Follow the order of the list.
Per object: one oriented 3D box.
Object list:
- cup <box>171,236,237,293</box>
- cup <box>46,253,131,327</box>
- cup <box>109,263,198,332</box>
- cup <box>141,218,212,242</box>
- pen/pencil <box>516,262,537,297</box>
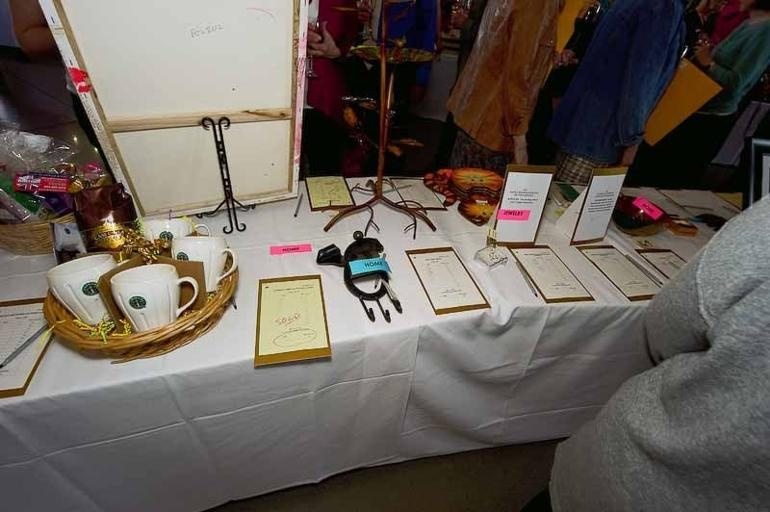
[{"bbox_3d":[-0.616,0.011,1.658,0.240,0.216,0.164,1,20,-19],"label":"cup"},{"bbox_3d":[-0.978,0.105,1.600,0.204,0.200,0.222,-5,19,2],"label":"cup"},{"bbox_3d":[-0.761,0.137,1.594,0.248,0.183,0.201,0,34,-14],"label":"cup"},{"bbox_3d":[-0.794,-0.103,1.775,0.137,0.125,0.193,6,9,44],"label":"cup"},{"bbox_3d":[0.557,0.086,1.877,0.025,0.025,0.179,-6,48,-23],"label":"pen/pencil"}]
